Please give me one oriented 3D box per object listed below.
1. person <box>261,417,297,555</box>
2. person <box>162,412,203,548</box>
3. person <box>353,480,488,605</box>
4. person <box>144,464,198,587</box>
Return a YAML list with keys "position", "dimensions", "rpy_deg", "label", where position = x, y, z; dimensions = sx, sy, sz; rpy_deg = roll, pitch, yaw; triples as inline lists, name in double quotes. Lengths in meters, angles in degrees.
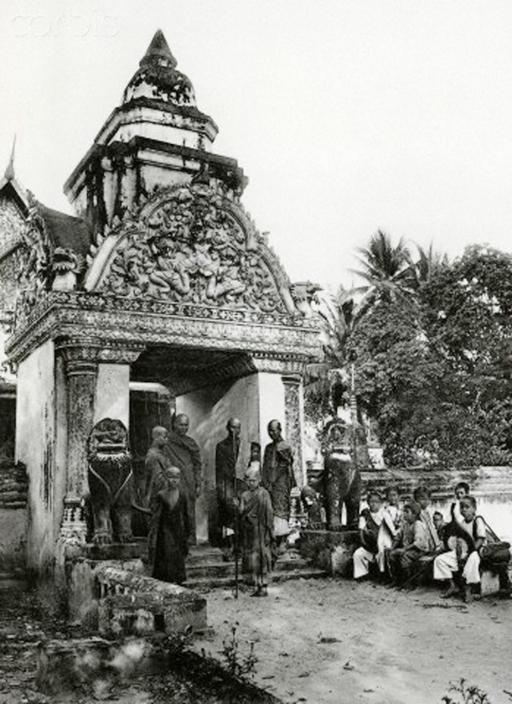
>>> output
- position: [0.255, 1.636, 10.446]
  dimensions: [0.391, 1.470, 0.361]
  rpy_deg: [-11, -17, 39]
  label: "person"
- position: [-0.936, 1.650, 10.498]
  dimensions: [0.624, 1.731, 0.382]
  rpy_deg: [7, -15, -35]
  label: "person"
- position: [1.776, 2.013, 8.723]
  dimensions: [0.546, 1.217, 1.564]
  rpy_deg: [4, 1, -36]
  label: "person"
- position: [-0.816, 1.698, 8.131]
  dimensions: [0.391, 1.294, 0.286]
  rpy_deg: [1, 12, -5]
  label: "person"
